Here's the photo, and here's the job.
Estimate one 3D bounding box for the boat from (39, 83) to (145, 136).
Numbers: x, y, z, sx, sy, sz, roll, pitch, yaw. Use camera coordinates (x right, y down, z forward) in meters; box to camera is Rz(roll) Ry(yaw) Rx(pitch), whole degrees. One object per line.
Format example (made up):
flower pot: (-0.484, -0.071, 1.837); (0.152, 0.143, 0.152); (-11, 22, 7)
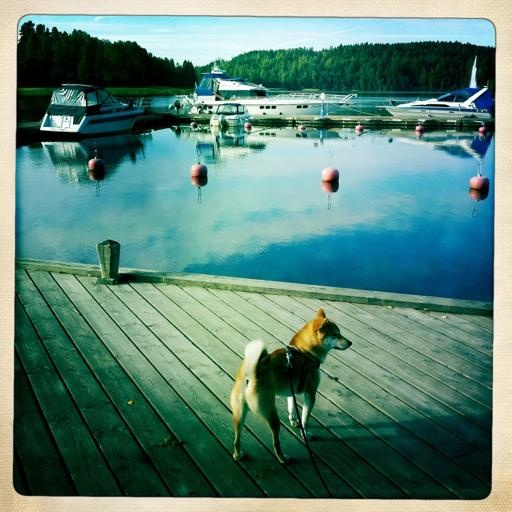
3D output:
boat: (-6.682, -6.555, 22.038); (2.117, 2.008, 6.631); (7, 19, 15)

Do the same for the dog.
dog: (0.151, 0.618, 2.348); (0.251, 0.530, 0.736); (1, 7, 40)

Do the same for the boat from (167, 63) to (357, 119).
boat: (-0.297, -9.051, 26.653); (9.369, 2.966, 2.256); (7, 15, 26)
